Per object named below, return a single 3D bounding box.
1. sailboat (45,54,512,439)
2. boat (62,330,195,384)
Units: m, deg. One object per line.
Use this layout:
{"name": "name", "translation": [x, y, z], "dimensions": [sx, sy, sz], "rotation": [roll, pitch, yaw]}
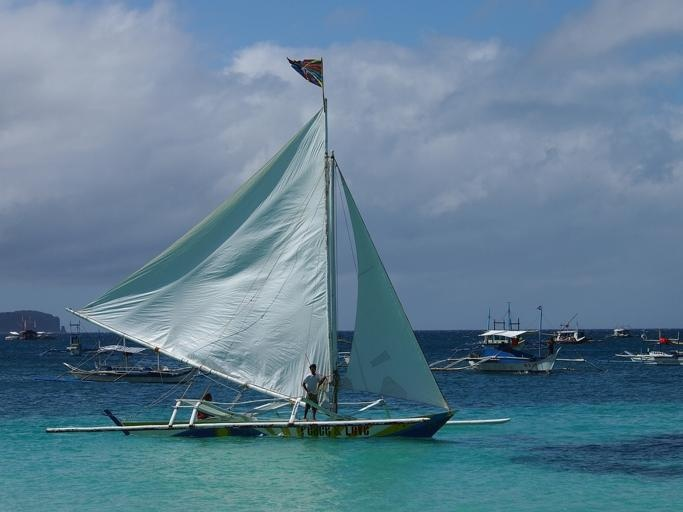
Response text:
{"name": "sailboat", "translation": [-3.126, -0.540, 42.322], "dimensions": [13.889, 18.032, 4.554], "rotation": [0, -8, -10]}
{"name": "boat", "translation": [-19.800, 9.824, 85.217], "dimensions": [12.872, 2.878, 7.660], "rotation": [-1, -2, 16]}
